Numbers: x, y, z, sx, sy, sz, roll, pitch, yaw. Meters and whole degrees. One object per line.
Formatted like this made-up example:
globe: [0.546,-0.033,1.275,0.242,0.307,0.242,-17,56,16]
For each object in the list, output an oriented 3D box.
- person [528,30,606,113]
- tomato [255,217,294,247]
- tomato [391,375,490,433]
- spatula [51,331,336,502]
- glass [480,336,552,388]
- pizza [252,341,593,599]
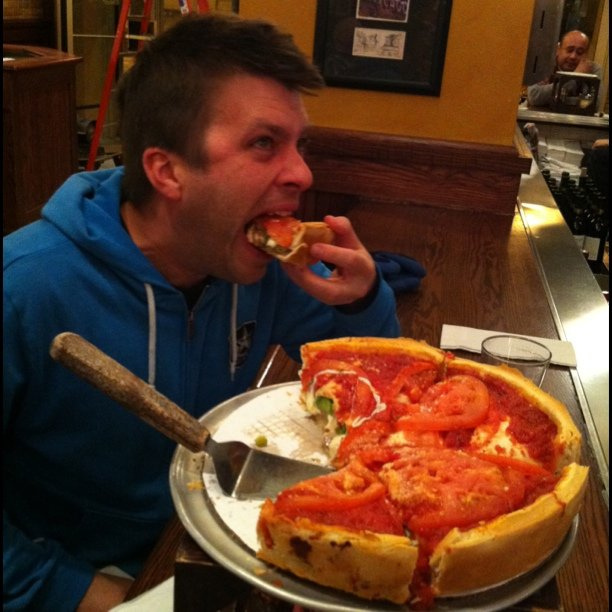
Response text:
person: [3.595,-3.183,6.970,0.933,0.976,1.915,15,25,25]
tomato: [-0.075,-0.183,1.271,0.079,0.062,0.078,8,23,10]
tomato: [0.255,0.162,1.026,0.171,0.086,0.154,-6,16,-23]
spatula: [-0.166,0.212,0.847,0.541,0.057,0.155,38,33,-19]
glass: [0.481,0.088,1.227,0.172,0.121,0.169,10,22,36]
pizza: [0.170,0.253,0.790,0.378,0.084,0.386,9,31,13]
